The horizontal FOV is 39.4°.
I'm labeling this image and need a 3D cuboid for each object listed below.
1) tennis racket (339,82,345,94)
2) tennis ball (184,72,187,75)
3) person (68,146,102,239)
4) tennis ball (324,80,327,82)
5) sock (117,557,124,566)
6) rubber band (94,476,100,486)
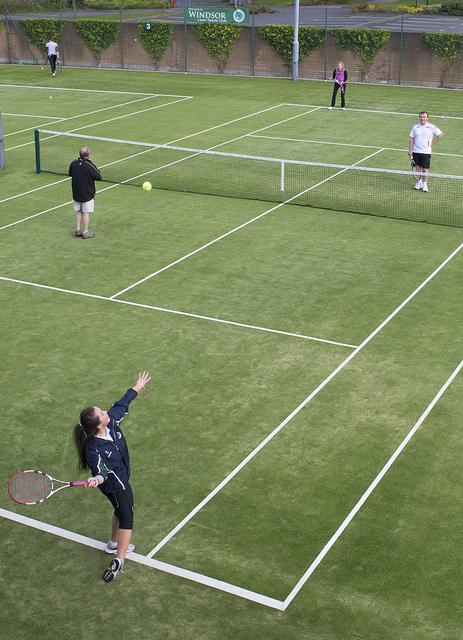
[{"bbox_3d":[4.396,-9.114,25.373,0.118,0.311,0.216,-26,23,-15],"label":"tennis racket"},{"bbox_3d":[-2.430,-13.251,34.619,0.128,0.125,0.238,4,56,2],"label":"tennis ball"},{"bbox_3d":[-2.760,-2.364,12.200,0.540,1.709,0.726,-4,16,-16],"label":"person"},{"bbox_3d":[4.645,-11.798,31.850,0.073,0.129,0.070,-5,15,1],"label":"tennis ball"},{"bbox_3d":[-0.787,1.711,4.584,0.033,0.036,0.038,10,20,26],"label":"sock"},{"bbox_3d":[-0.876,1.059,4.228,0.033,0.033,0.026,8,3,34],"label":"rubber band"}]
